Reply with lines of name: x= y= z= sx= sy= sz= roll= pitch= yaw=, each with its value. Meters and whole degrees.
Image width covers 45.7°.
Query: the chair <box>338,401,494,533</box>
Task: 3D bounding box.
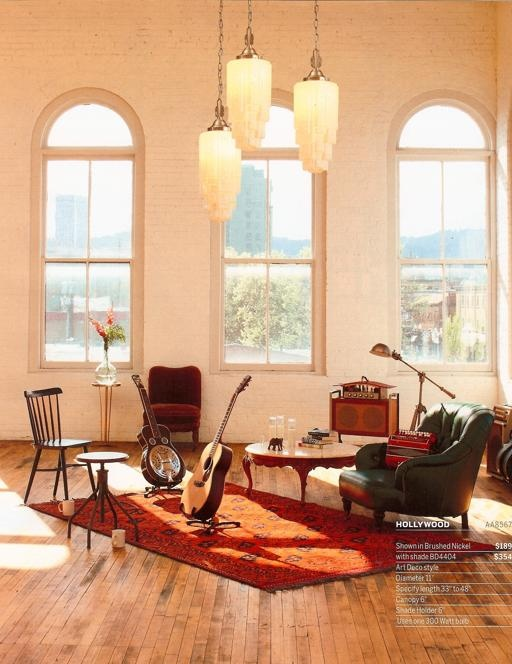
chair: x=1.014 y=0.817 z=4.128 sx=0.880 sy=0.808 sz=0.931 roll=3 pitch=-3 yaw=-11

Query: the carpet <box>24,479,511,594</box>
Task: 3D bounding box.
carpet: x=0.182 y=1.266 z=3.907 sx=2.263 sy=0.054 sz=1.674 roll=-1 pitch=-3 yaw=42

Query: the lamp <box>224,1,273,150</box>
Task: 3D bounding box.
lamp: x=-0.052 y=-1.461 z=3.765 sx=0.264 sy=0.684 sz=0.177 roll=1 pitch=-3 yaw=0

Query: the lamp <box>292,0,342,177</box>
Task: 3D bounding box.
lamp: x=0.381 y=-1.367 z=3.891 sx=0.273 sy=0.674 sz=0.189 roll=0 pitch=-3 yaw=4

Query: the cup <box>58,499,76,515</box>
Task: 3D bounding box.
cup: x=-1.332 y=1.238 z=4.323 sx=0.150 sy=0.133 sz=0.094 roll=1 pitch=-1 yaw=-17

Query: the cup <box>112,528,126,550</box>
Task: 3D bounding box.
cup: x=-0.809 y=1.222 z=3.566 sx=0.067 sy=0.091 sz=0.107 roll=1 pitch=-1 yaw=-6

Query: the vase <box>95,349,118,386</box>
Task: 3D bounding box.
vase: x=-1.725 y=0.419 z=7.008 sx=0.248 sy=0.400 sz=0.632 roll=1 pitch=-2 yaw=-13

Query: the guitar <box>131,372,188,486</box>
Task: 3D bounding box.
guitar: x=-0.852 y=0.888 z=5.071 sx=0.406 sy=1.005 sz=0.134 roll=-1 pitch=-24 yaw=-40
